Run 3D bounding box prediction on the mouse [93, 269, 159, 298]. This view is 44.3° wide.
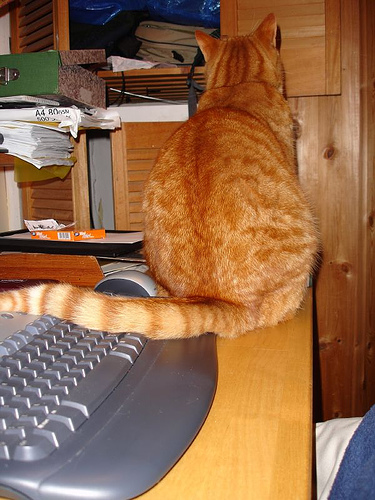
[{"bbox_3d":[-0.086,0.043,0.658,0.066,0.020,0.044,2,14,4],"label":"mouse"}]
